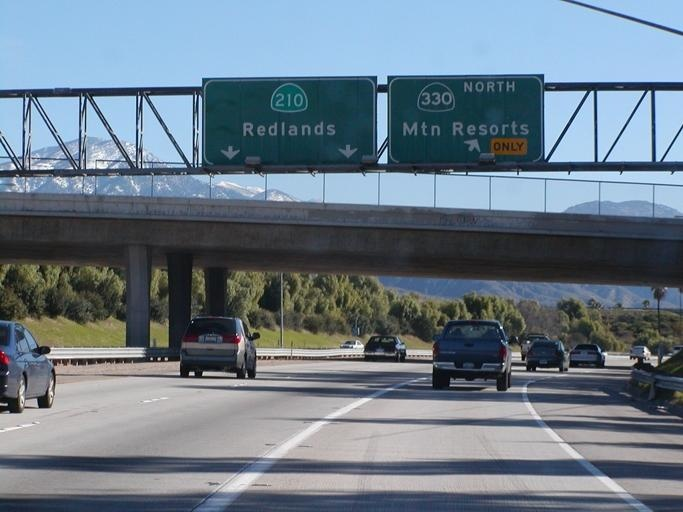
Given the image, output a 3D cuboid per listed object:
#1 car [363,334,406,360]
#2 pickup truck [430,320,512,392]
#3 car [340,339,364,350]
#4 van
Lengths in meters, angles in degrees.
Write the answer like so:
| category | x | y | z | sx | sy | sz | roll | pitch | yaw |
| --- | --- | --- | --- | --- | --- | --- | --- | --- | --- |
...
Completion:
| category | x | y | z | sx | sy | sz | roll | pitch | yaw |
| --- | --- | --- | --- | --- | --- | --- | --- | --- | --- |
| car | 2.550 | 5.370 | 86.615 | 1.746 | 1.491 | 3.031 | -1 | -4 | 13 |
| pickup truck | 4.412 | 3.362 | 50.689 | 2.567 | 2.409 | 1.850 | 0 | -4 | 2 |
| car | 0.934 | 7.645 | 129.181 | 1.547 | 0.806 | 0.914 | 11 | -10 | -39 |
| van | -4.372 | 3.295 | 54.917 | 2.431 | 2.548 | 4.451 | 0 | -3 | 0 |
